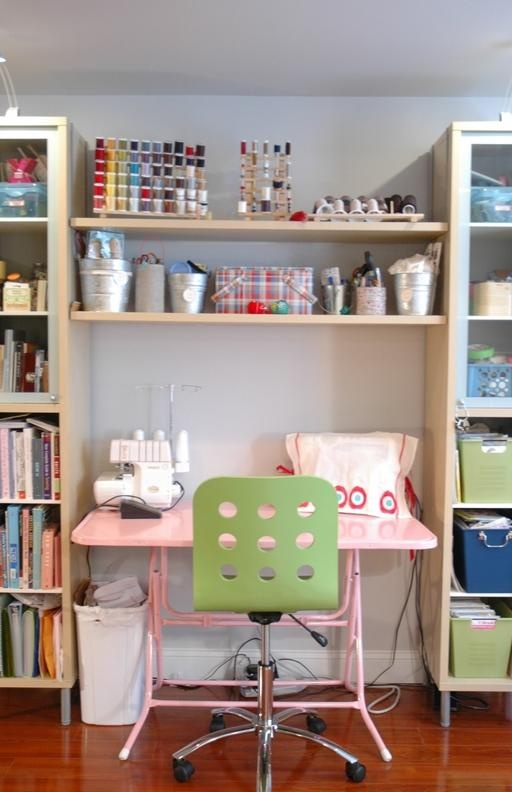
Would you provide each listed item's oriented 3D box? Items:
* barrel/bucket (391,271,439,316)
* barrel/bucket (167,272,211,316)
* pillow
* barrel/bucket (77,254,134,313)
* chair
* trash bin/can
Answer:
[{"bbox_3d":[0.538,-0.346,2.465,0.140,0.125,0.143,-1,-1,0],"label":"barrel/bucket"},{"bbox_3d":[-0.232,-0.358,2.487,0.146,0.122,0.132,1,3,21],"label":"barrel/bucket"},{"bbox_3d":[0.323,0.262,2.395,0.318,0.216,0.048,0,-20,4],"label":"pillow"},{"bbox_3d":[-0.503,-0.382,2.403,0.186,0.164,0.174,0,7,0],"label":"barrel/bucket"},{"bbox_3d":[0.011,0.664,2.147,0.566,0.951,0.442,-3,6,-6],"label":"chair"},{"bbox_3d":[-0.450,0.901,2.608,0.368,0.546,0.351,0,-2,-4],"label":"trash bin/can"}]
